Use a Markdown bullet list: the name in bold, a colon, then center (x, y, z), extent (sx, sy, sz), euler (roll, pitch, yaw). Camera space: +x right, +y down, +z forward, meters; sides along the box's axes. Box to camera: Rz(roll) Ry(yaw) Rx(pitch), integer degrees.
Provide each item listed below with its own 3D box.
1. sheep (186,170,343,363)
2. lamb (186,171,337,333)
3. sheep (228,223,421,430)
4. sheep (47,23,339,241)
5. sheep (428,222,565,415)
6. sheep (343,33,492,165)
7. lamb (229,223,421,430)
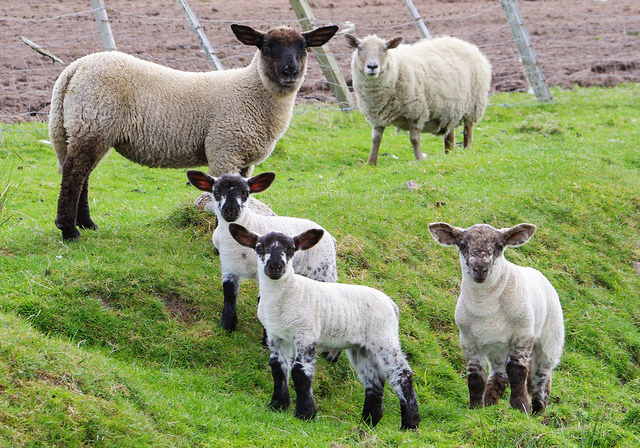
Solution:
- **sheep**: center (-0.765, 0.681, 11.520), extent (1.124, 2.331, 3.280), euler (9, -5, 40)
- **lamb**: center (-0.858, 0.159, 11.839), extent (1.254, 2.360, 3.535), euler (-3, -7, 45)
- **sheep**: center (0.074, 1.523, 10.291), extent (3.047, 2.352, 1.212), euler (17, -14, -35)
- **sheep**: center (-2.405, -1.625, 13.071), extent (4.642, 3.514, 1.760), euler (-1, 11, -14)
- **sheep**: center (2.696, 1.549, 11.027), extent (1.270, 2.573, 3.532), euler (2, -8, 29)
- **sheep**: center (2.282, -2.913, 17.139), extent (3.190, 2.835, 1.392), euler (-8, 13, -31)
- **lamb**: center (0.068, 1.522, 10.322), extent (3.118, 2.395, 1.112), euler (16, -13, -35)
